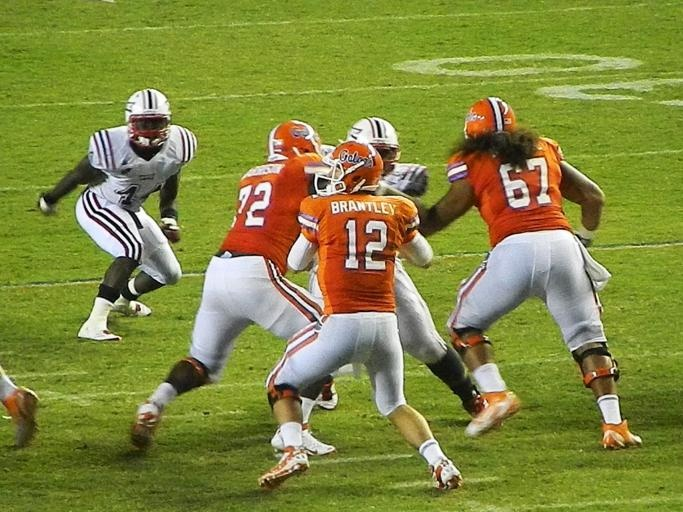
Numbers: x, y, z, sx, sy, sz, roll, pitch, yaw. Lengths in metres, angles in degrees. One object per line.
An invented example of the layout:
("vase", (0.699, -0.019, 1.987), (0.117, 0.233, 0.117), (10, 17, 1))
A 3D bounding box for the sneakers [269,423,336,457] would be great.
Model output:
("sneakers", (-0.206, 1.168, 7.481), (0.562, 0.196, 0.162), (4, 7, -3))

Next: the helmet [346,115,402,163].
("helmet", (0.222, -0.766, 7.639), (0.303, 0.247, 0.366), (-4, 9, -30))

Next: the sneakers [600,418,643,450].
("sneakers", (1.694, 1.120, 7.308), (0.325, 0.120, 0.129), (0, 0, -37))

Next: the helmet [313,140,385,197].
("helmet", (-0.026, -0.551, 7.217), (0.411, 0.310, 0.461), (12, 7, 28))

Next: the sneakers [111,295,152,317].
("sneakers", (-1.684, 0.408, 9.402), (0.416, 0.148, 0.111), (6, 46, -28))

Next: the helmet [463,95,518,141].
("helmet", (0.960, -0.899, 7.933), (0.370, 0.323, 0.390), (-7, 5, -17))

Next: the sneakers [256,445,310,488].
("sneakers", (-0.371, 1.252, 6.956), (0.302, 0.273, 0.201), (-2, 20, -22))

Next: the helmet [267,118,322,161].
("helmet", (-0.331, -0.743, 7.841), (0.385, 0.274, 0.277), (-9, 1, -31))

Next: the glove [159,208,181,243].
("glove", (-1.316, -0.232, 9.000), (0.123, 0.129, 0.290), (-8, 51, -27))

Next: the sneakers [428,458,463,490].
("sneakers", (0.618, 1.282, 6.963), (0.221, 0.192, 0.136), (2, 19, -9))

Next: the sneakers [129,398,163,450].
("sneakers", (-1.222, 1.038, 7.321), (0.143, 0.320, 0.165), (31, 31, 12))

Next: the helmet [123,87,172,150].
("helmet", (-1.475, -1.041, 8.793), (0.385, 0.362, 0.439), (-4, 21, -24))

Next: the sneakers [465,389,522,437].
("sneakers", (0.937, 0.998, 7.478), (0.389, 0.126, 0.167), (-30, 40, 0))
